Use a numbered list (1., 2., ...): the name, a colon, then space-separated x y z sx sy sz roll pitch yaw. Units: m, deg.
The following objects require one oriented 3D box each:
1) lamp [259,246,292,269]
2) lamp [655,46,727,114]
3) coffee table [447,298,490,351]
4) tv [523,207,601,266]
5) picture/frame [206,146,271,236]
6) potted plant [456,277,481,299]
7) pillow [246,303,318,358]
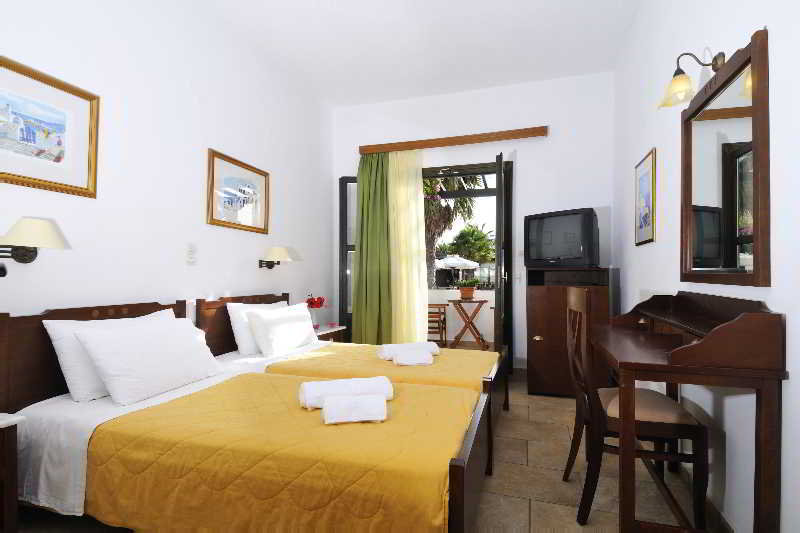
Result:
1. lamp: -1.277 -0.088 5.322 0.251 0.184 0.252 -4 -4 17
2. lamp: 1.958 -1.250 3.518 0.280 0.484 0.537 -20 19 -30
3. coffee table: 1.013 0.823 7.771 0.647 0.823 0.563 0 -1 16
4. tv: 1.683 -0.284 5.535 0.923 0.822 0.545 -1 -1 36
5. picture/frame: -1.583 -0.713 4.970 0.035 0.714 0.866 -1 -6 23
6. potted plant: 1.040 0.342 8.101 0.275 0.301 0.283 -2 -5 8
7. pillow: -1.105 0.572 4.728 0.145 0.388 0.556 -19 -5 21
